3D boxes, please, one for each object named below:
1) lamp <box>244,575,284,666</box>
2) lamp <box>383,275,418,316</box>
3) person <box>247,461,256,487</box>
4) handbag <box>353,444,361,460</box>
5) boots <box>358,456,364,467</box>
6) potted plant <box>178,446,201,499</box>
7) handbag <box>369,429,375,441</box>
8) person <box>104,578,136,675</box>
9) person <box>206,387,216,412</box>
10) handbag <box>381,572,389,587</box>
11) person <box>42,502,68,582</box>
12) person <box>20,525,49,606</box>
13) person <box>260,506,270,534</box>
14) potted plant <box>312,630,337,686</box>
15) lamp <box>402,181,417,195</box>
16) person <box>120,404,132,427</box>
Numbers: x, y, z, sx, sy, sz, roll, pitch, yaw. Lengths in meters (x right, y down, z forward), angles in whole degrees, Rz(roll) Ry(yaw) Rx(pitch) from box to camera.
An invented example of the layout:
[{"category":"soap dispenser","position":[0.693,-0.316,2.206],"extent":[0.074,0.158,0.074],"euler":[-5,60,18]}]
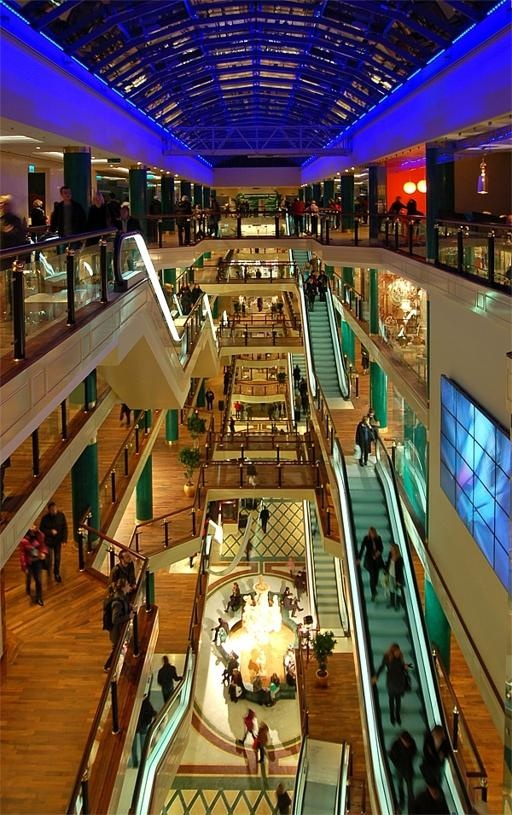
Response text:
[{"category":"lamp","position":[0.258,7.482,17.438],"extent":[1.201,4.082,1.456],"euler":[2,16,4]},{"category":"lamp","position":[4.131,-3.454,14.924],"extent":[0.678,0.793,2.035],"euler":[2,3,-6]},{"category":"person","position":[-0.143,2.306,16.939],"extent":[0.303,0.533,0.830],"euler":[2,3,-1]},{"category":"handbag","position":[2.425,1.114,12.136],"extent":[0.185,0.475,0.337],"euler":[6,31,14]},{"category":"boots","position":[2.399,1.249,11.686],"extent":[0.094,0.224,0.250],"euler":[1,3,-24]},{"category":"potted plant","position":[-2.441,2.465,18.577],"extent":[0.561,1.610,0.744],"euler":[2,33,1]},{"category":"handbag","position":[2.678,0.662,11.735],"extent":[0.106,0.277,0.211],"euler":[3,2,18]},{"category":"person","position":[-1.671,2.654,6.135],"extent":[0.326,1.188,0.398],"euler":[3,11,-19]},{"category":"person","position":[-2.723,-0.399,29.850],"extent":[0.455,1.210,1.928],"euler":[2,3,-6]},{"category":"handbag","position":[2.135,2.884,8.451],"extent":[0.112,0.217,0.212],"euler":[-4,23,0]},{"category":"person","position":[-3.124,2.124,7.855],"extent":[0.335,1.373,0.375],"euler":[-3,19,-24]},{"category":"person","position":[-3.244,2.267,7.402],"extent":[0.355,1.095,0.677],"euler":[1,2,-26]},{"category":"person","position":[0.377,5.204,23.427],"extent":[0.392,1.170,1.473],"euler":[2,3,1]},{"category":"potted plant","position":[1.829,6.878,13.742],"extent":[0.405,1.463,0.470],"euler":[3,4,6]},{"category":"lamp","position":[6.423,-9.197,21.343],"extent":[0.393,0.710,0.473],"euler":[3,-26,-1]},{"category":"person","position":[-4.305,0.241,16.707],"extent":[0.322,0.721,1.409],"euler":[1,3,-16]}]
